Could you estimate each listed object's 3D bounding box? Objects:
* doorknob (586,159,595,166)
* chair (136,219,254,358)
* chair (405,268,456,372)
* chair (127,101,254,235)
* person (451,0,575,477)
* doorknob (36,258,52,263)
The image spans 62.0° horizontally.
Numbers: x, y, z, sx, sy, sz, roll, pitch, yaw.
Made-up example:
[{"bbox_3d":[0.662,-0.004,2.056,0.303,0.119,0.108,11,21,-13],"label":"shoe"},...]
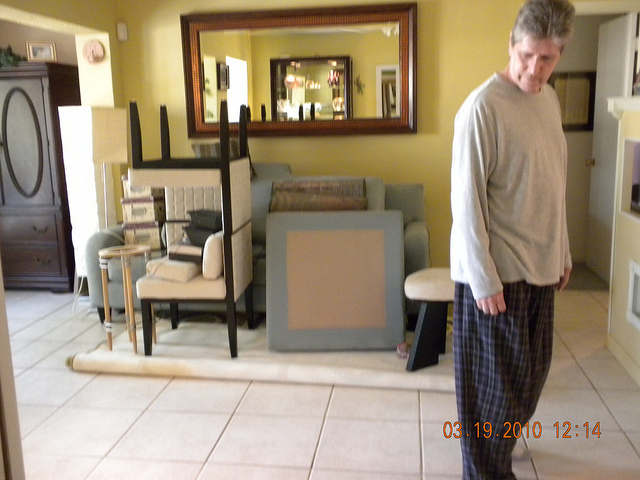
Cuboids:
[{"bbox_3d":[2.793,-0.805,5.508,0.058,0.061,0.043,3,-15,13],"label":"doorknob"},{"bbox_3d":[-0.840,0.339,4.371,0.922,1.301,0.886,1,6,1],"label":"chair"},{"bbox_3d":[0.748,0.509,3.726,0.547,0.674,0.539,0,10,9],"label":"chair"},{"bbox_3d":[-0.936,-0.546,4.292,1.016,1.400,0.967,1,10,2],"label":"chair"},{"bbox_3d":[0.891,0.047,2.455,0.555,2.154,0.315,-5,13,-9],"label":"person"},{"bbox_3d":[-2.741,0.199,5.345,0.125,0.045,0.028,-8,12,8],"label":"doorknob"}]
